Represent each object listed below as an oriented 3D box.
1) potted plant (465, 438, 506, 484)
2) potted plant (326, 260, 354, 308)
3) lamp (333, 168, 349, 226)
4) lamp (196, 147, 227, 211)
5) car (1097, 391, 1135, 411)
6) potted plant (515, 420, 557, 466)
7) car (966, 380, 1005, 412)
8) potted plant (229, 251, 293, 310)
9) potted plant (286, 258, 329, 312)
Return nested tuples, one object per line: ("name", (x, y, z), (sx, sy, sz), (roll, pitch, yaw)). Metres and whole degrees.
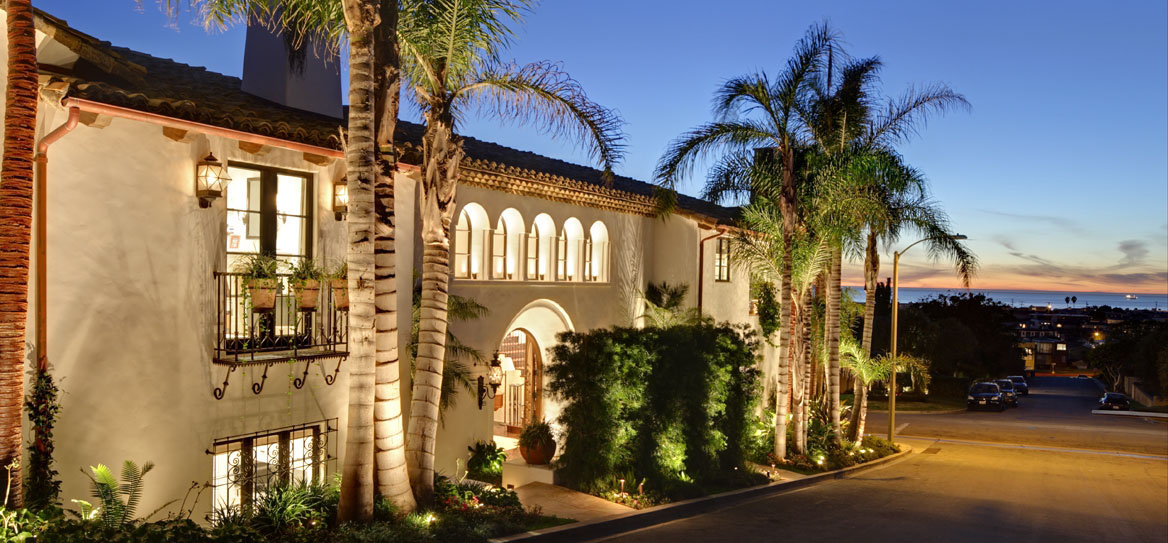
("potted plant", (-3.827, 7.167, 31.396), (1.521, 1.418, 1.457), (3, -7, -13))
("potted plant", (-8.016, 0.396, 27.094), (0.596, 1.570, 0.657), (1, -10, -18))
("lamp", (-8.048, -2.432, 27.322), (0.562, 1.443, 0.378), (-4, -10, 10))
("lamp", (-11.530, -2.829, 25.716), (0.922, 1.649, 0.531), (1, -10, -16))
("car", (39.425, 10.123, 62.007), (2.040, 1.570, 3.391), (-1, 8, 26))
("potted plant", (-1.823, 6.518, 31.883), (1.552, 1.478, 1.519), (-3, -5, 23))
("car", (29.305, 9.025, 60.673), (2.499, 2.047, 1.857), (4, -11, -28))
("potted plant", (-10.052, 0.303, 26.122), (1.603, 1.548, 1.590), (-1, -4, 12))
("potted plant", (-8.974, 0.475, 26.697), (1.184, 1.404, 1.254), (-8, -4, 37))
